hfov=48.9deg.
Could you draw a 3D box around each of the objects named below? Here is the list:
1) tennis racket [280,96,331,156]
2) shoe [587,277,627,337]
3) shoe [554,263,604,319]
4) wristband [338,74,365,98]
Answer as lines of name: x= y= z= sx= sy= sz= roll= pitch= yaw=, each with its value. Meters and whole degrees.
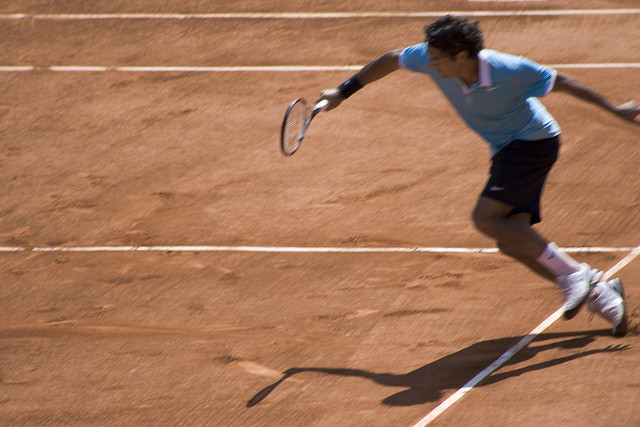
tennis racket: x=-0.148 y=-0.897 z=7.461 sx=0.124 sy=0.483 sz=1.416 roll=46 pitch=11 yaw=8
shoe: x=2.626 y=0.838 z=6.316 sx=0.490 sy=0.470 sz=0.268 roll=0 pitch=1 yaw=18
shoe: x=2.287 y=0.682 z=6.279 sx=0.380 sy=0.470 sz=0.314 roll=2 pitch=21 yaw=-8
wristband: x=0.270 y=-1.221 z=6.723 sx=0.220 sy=0.227 sz=0.147 roll=-1 pitch=22 yaw=-15
